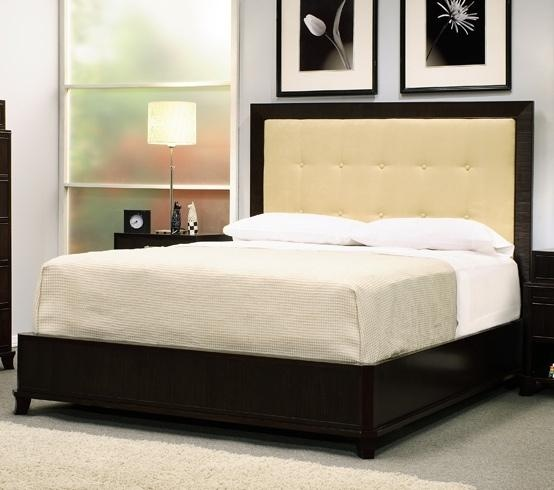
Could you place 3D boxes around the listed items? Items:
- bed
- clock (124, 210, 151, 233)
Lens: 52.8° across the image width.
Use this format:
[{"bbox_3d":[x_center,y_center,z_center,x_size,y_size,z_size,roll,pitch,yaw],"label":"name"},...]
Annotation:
[{"bbox_3d":[0.209,0.417,2.776,1.750,1.580,2.113,0,-1,34],"label":"bed"},{"bbox_3d":[-1.015,-0.169,4.049,0.175,0.167,0.043,1,-1,16],"label":"clock"}]
